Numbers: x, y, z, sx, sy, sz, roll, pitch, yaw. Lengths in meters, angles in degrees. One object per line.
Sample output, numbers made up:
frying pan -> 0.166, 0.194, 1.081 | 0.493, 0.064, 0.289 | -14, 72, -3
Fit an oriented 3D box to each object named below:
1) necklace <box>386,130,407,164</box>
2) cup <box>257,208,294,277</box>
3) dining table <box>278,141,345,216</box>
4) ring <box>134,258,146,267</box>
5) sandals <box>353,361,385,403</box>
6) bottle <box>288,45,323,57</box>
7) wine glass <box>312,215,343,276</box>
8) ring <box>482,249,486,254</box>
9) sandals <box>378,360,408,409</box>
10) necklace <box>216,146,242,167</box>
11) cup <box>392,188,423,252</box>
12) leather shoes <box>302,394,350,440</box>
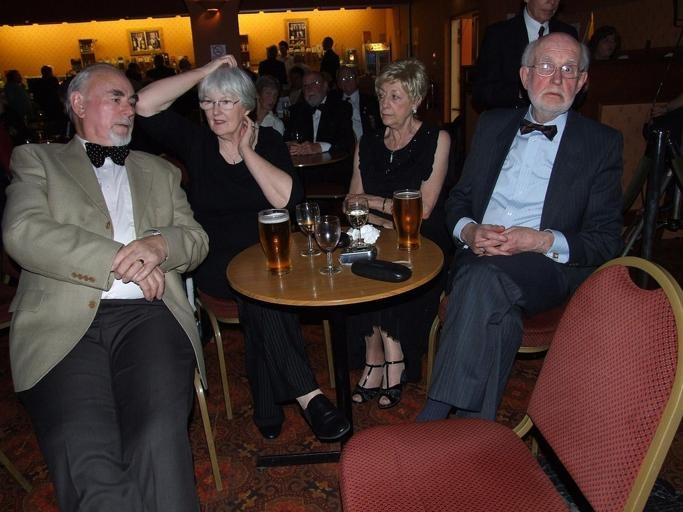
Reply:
necklace -> 0.312, -0.606, 2.843 | 0.107, 0.200, 0.027 | 10, 0, 31
cup -> -0.255, -0.050, 2.003 | 0.114, 0.259, 0.162 | -4, 22, -7
dining table -> -0.211, -0.713, 4.956 | 0.677, 0.737, 0.680 | -6, 24, -12
ring -> -0.746, 0.019, 1.898 | 0.039, 0.027, 0.022 | 29, 28, 6
sandals -> 0.143, 0.684, 2.757 | 0.094, 0.133, 0.298 | 1, 8, 28
bottle -> -0.778, -4.462, 11.056 | 0.435, 0.121, 0.451 | 1, 15, 0
wine glass -> -0.055, -0.070, 2.084 | 0.101, 0.234, 0.285 | -2, 23, -1
ring -> 0.618, -0.018, 2.219 | 0.009, 0.018, 0.016 | -2, 0, 8
sandals -> 0.273, 0.691, 2.716 | 0.090, 0.134, 0.299 | -5, 14, 18
necklace -> -0.548, -0.506, 2.522 | 0.121, 0.084, 0.032 | 52, 22, 4
cup -> 0.283, -0.146, 2.187 | 0.148, 0.280, 0.158 | -5, 38, 4
leather shoes -> -0.076, 0.730, 2.336 | 0.111, 0.122, 0.266 | -28, 17, -19
